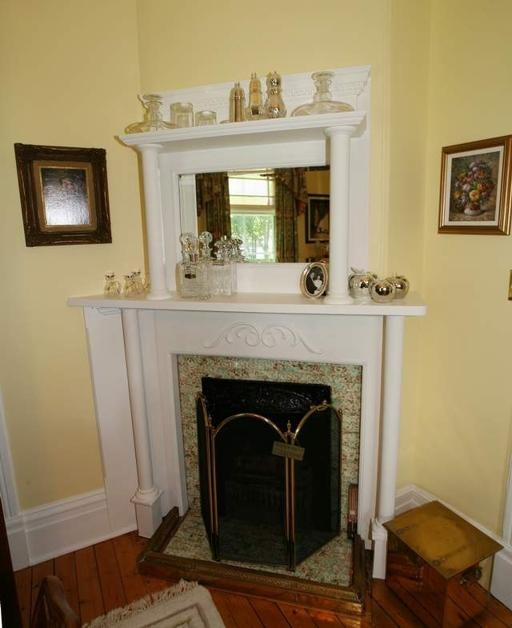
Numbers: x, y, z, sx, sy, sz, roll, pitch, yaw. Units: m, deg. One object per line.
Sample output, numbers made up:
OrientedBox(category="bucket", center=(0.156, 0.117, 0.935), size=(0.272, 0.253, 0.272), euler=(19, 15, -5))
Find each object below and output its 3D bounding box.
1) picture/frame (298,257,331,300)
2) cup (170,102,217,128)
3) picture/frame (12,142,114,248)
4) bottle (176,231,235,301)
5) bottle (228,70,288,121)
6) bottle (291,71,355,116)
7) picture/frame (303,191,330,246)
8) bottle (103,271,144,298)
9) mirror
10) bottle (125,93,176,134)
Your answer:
OrientedBox(category="picture/frame", center=(0.209, -0.132, 1.852), size=(0.102, 0.132, 0.032), euler=(5, -4, 31))
OrientedBox(category="cup", center=(-0.234, -0.752, 1.933), size=(0.183, 0.123, 0.099), euler=(-2, 28, -7))
OrientedBox(category="picture/frame", center=(-0.807, -0.498, 2.058), size=(0.426, 0.497, 0.038), euler=(-5, 14, -25))
OrientedBox(category="bottle", center=(-0.193, -0.188, 1.998), size=(0.269, 0.296, 0.155), euler=(0, 8, 4))
OrientedBox(category="bottle", center=(-0.001, -0.789, 1.851), size=(0.211, 0.173, 0.190), euler=(-2, 12, 2))
OrientedBox(category="bottle", center=(0.225, -0.716, 1.724), size=(0.190, 0.165, 0.192), euler=(14, 28, 32))
OrientedBox(category="picture/frame", center=(0.235, -0.352, 1.885), size=(0.129, 0.184, 0.014), euler=(-6, 10, -31))
OrientedBox(category="bottle", center=(-0.567, -0.136, 2.168), size=(0.174, 0.091, 0.189), euler=(-2, 12, 0))
OrientedBox(category="mirror", center=(0.012, -0.388, 1.952), size=(0.593, 0.426, 0.022), euler=(4, 30, 15))
OrientedBox(category="bottle", center=(-0.389, -0.750, 1.957), size=(0.205, 0.177, 0.204), euler=(-2, 15, -2))
